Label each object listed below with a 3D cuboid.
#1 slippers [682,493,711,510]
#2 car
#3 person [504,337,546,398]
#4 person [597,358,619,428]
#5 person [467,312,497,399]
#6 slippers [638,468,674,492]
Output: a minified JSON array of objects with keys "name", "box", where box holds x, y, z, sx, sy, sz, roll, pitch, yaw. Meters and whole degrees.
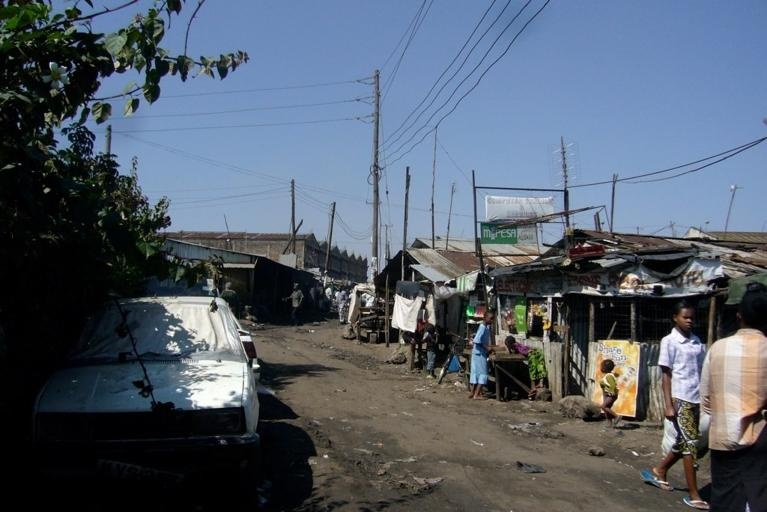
[{"name":"slippers","box":[3.827,2.994,7.797,0.267,0.135,0.544,1,-11,-4]},{"name":"car","box":[-3.136,1.605,9.000,2.833,2.084,4.535,2,0,-7]},{"name":"person","box":[3.138,2.407,13.752,0.831,1.290,0.466,0,-3,21]},{"name":"person","box":[4.172,2.525,11.670,0.352,1.078,0.487,10,-41,9]},{"name":"person","box":[2.204,2.164,14.163,0.507,1.867,1.026,1,-3,8]},{"name":"slippers","box":[3.577,2.939,8.341,0.180,0.101,0.388,5,-6,-21]}]
